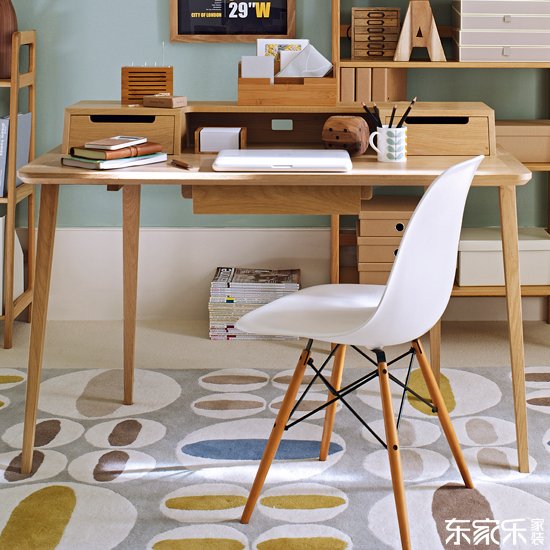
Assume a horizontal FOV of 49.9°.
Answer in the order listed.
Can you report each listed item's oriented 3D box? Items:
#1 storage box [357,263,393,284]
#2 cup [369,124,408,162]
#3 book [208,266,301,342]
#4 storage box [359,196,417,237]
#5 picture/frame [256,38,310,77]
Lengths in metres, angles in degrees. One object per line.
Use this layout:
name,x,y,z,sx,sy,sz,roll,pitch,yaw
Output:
storage box,0.383,-0.007,2.304,0.103,0.052,0.094,1,6,2
cup,0.308,-0.363,1.653,0.116,0.085,0.069,-9,17,-24
book,-0.123,0.111,2.672,0.376,0.195,0.349,0,9,5
storage box,0.434,-0.227,2.306,0.225,0.063,0.199,0,14,6
picture/frame,0.028,-0.740,1.991,0.168,0.118,0.139,-1,13,0
